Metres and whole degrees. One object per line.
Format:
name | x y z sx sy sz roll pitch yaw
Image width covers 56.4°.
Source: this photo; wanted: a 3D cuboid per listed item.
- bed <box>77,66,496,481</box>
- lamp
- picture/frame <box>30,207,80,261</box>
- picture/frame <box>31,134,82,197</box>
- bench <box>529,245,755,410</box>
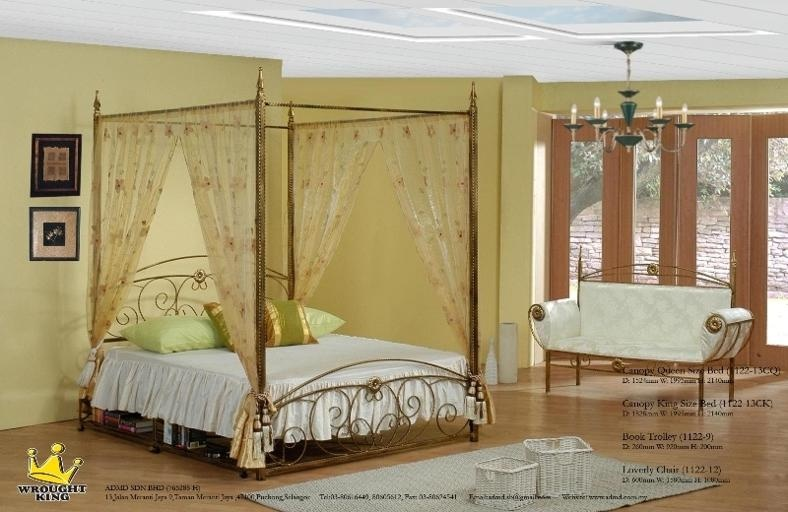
bed | -1.056 0.097 6.656 3.349 3.019 2.199 -3 4 -26
lamp | 2.313 -1.559 7.304 1.227 1.003 1.241 0 6 4
picture/frame | -3.249 -0.217 6.936 0.514 0.539 0.059 -2 2 -30
picture/frame | -3.234 -0.855 6.932 0.613 0.728 0.083 -1 7 -29
bench | 2.545 0.761 7.822 2.229 1.402 0.817 0 1 45
